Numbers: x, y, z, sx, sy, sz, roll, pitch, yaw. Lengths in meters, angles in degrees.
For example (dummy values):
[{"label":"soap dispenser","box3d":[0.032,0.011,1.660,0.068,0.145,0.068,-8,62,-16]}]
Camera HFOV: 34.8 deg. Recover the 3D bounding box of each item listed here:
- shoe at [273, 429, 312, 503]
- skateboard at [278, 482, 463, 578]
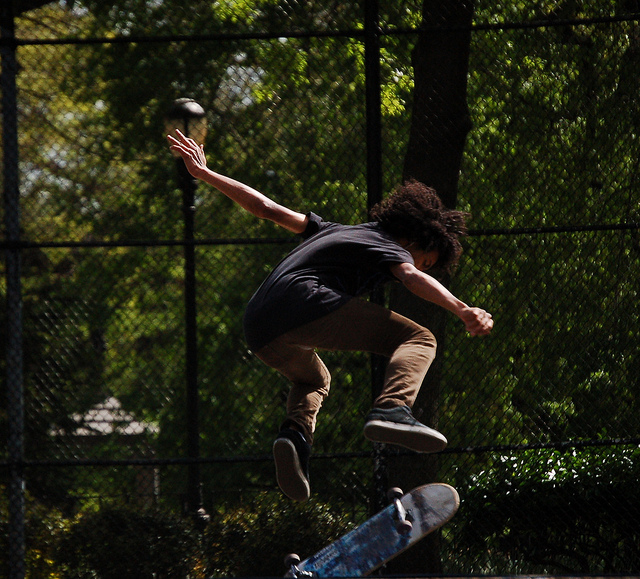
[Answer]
[{"label":"shoe","box3d":[-0.156,1.182,6.832,0.166,0.534,0.222,-8,31,15]},{"label":"skateboard","box3d":[0.334,1.749,7.504,1.312,0.361,0.187,-33,-18,5]}]
